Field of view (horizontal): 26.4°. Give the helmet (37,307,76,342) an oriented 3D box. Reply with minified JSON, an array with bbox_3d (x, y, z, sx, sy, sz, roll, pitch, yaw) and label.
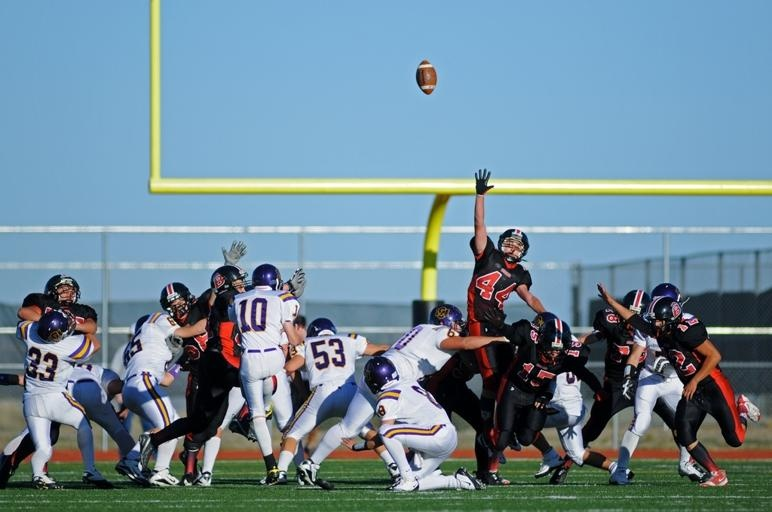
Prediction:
[{"bbox_3d":[-3.791,0.842,18.759,0.427,0.364,0.183,2,-4,-15],"label":"helmet"}]

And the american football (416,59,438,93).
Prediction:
[{"bbox_3d":[0.508,-2.247,21.198,0.258,0.443,0.243,2,-14,-35],"label":"american football"}]

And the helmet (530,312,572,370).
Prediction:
[{"bbox_3d":[1.906,1.000,18.838,0.425,0.572,0.226,0,-4,18],"label":"helmet"}]

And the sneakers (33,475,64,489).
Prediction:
[{"bbox_3d":[-3.902,2.633,18.890,0.399,0.205,0.152,4,7,-8],"label":"sneakers"}]

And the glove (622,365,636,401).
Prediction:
[{"bbox_3d":[2.930,1.554,19.701,0.101,0.365,0.228,8,14,19],"label":"glove"}]

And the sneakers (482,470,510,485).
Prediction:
[{"bbox_3d":[1.290,2.654,19.347,0.398,0.188,0.141,0,4,-9],"label":"sneakers"}]

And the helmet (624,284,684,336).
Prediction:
[{"bbox_3d":[3.255,0.713,19.341,0.642,0.544,0.486,-9,25,-19],"label":"helmet"}]

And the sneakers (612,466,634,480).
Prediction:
[{"bbox_3d":[2.779,2.605,19.283,0.284,0.138,0.158,-2,6,10],"label":"sneakers"}]

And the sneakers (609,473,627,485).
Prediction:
[{"bbox_3d":[2.725,2.630,19.187,0.218,0.160,0.153,0,-4,5],"label":"sneakers"}]

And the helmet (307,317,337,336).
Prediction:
[{"bbox_3d":[-0.811,0.895,19.795,0.202,0.252,0.288,0,3,-10],"label":"helmet"}]

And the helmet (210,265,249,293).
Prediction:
[{"bbox_3d":[-1.890,0.326,19.434,0.350,0.304,0.273,-21,4,-8],"label":"helmet"}]

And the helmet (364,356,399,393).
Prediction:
[{"bbox_3d":[-0.088,1.354,18.646,0.297,0.384,0.429,-25,21,23],"label":"helmet"}]

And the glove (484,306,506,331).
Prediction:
[{"bbox_3d":[1.283,0.800,19.405,0.215,0.293,0.612,0,-4,4],"label":"glove"}]

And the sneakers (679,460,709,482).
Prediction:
[{"bbox_3d":[3.681,2.612,19.542,0.156,0.230,0.434,-11,-18,42],"label":"sneakers"}]

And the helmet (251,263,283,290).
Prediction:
[{"bbox_3d":[-1.429,0.270,19.262,0.236,0.322,0.317,4,15,20],"label":"helmet"}]

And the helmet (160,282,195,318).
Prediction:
[{"bbox_3d":[-2.490,0.586,19.535,0.425,0.443,0.232,2,-4,-19],"label":"helmet"}]

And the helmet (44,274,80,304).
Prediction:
[{"bbox_3d":[-3.925,0.439,19.801,0.359,0.317,0.286,0,-4,44],"label":"helmet"}]

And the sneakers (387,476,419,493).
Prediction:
[{"bbox_3d":[0.199,2.617,18.538,0.393,0.198,0.140,3,-3,-8],"label":"sneakers"}]

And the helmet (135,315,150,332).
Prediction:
[{"bbox_3d":[-2.943,0.847,19.450,0.176,0.217,0.325,4,-5,-39],"label":"helmet"}]

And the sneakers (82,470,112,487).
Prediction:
[{"bbox_3d":[-3.336,2.605,18.844,0.319,0.189,0.137,1,-4,-8],"label":"sneakers"}]

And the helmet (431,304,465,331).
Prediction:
[{"bbox_3d":[0.729,0.764,19.637,0.337,0.299,0.263,-3,10,-7],"label":"helmet"}]
